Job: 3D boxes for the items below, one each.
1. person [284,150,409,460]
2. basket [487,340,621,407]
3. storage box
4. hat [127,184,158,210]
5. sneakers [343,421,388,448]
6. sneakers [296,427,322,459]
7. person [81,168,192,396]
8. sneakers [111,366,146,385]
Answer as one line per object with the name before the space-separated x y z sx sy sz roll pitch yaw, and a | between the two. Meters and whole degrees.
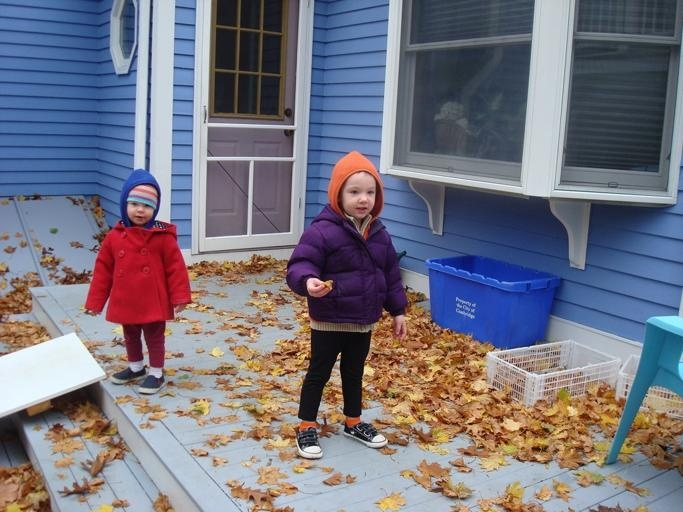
person | -0.001 0.271 2.891 0.606 1.632 0.482 -1 16 -15
basket | 1.527 0.832 3.768 0.719 0.205 0.448 -9 20 -24
storage box | 1.291 0.381 4.594 0.675 0.456 0.983 -3 9 -37
hat | -1.276 -0.379 3.396 0.141 0.121 0.169 11 12 -21
sneakers | 0.145 1.029 3.080 0.270 0.087 0.103 9 16 35
sneakers | -0.175 1.015 2.865 0.093 0.075 0.206 0 1 -15
person | -1.303 0.166 3.489 0.601 1.440 0.482 10 17 23
sneakers | -1.443 0.817 3.584 0.215 0.073 0.077 0 0 -37
